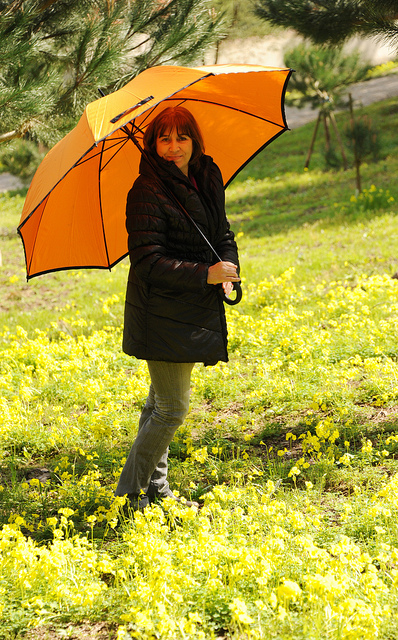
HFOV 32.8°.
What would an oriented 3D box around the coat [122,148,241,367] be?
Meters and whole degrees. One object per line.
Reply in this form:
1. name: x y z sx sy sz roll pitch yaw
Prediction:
1. coat: -0.092 -0.319 3.441 0.700 1.151 0.478 -12 10 -17
